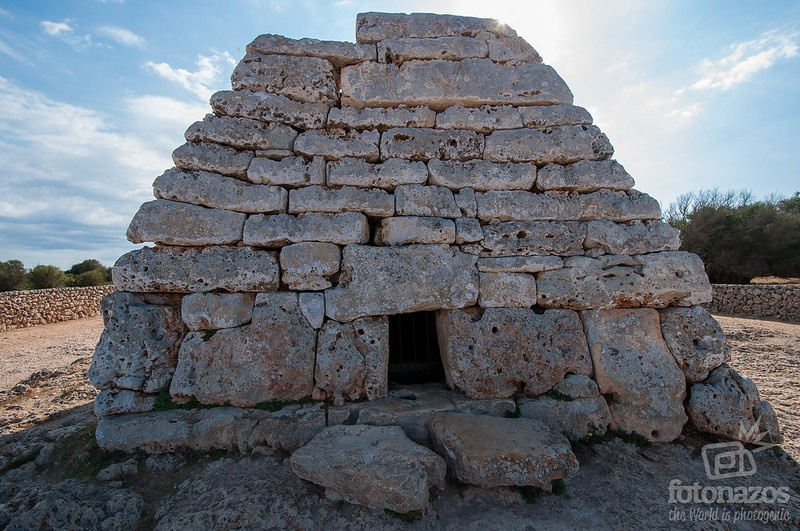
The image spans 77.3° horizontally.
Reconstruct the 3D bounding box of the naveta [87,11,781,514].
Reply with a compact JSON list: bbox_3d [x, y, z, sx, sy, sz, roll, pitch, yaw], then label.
[{"bbox_3d":[0.246,-0.417,6.237,7.358,5.116,3.950,1,-1,-2],"label":"naveta"}]
